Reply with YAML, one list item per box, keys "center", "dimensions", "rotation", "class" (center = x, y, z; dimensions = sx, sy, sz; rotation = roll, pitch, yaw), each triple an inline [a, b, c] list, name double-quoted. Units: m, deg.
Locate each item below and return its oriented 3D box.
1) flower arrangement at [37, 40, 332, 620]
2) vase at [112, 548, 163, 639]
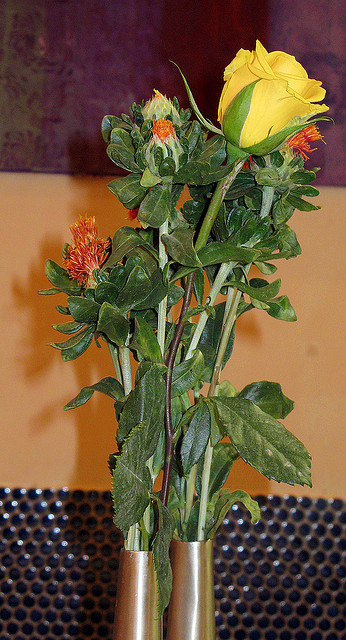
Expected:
- center: [-0.014, -0.003, 0.454]
  dimensions: [0.178, 0.412, 0.219]
  rotation: [16, 22, 37]
  class: "flower arrangement"
- center: [-0.025, 0.198, 0.415]
  dimensions: [0.031, 0.060, 0.031]
  rotation: [3, 17, 1]
  class: "vase"
